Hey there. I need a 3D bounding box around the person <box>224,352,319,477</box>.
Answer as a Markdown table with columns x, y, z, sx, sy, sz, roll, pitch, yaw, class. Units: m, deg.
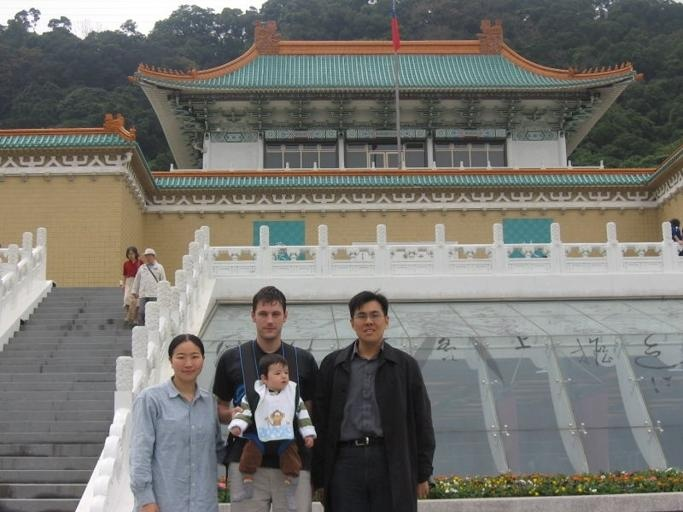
| x | y | z | sx | sy | sz | roll | pitch | yaw | class |
| --- | --- | --- | --- | --- | --- | --- | --- | --- | --- |
| -1.123 | 2.789 | 18.385 | 1.332 | 2.152 | 0.443 | 0 | 7 | -6 | person |
